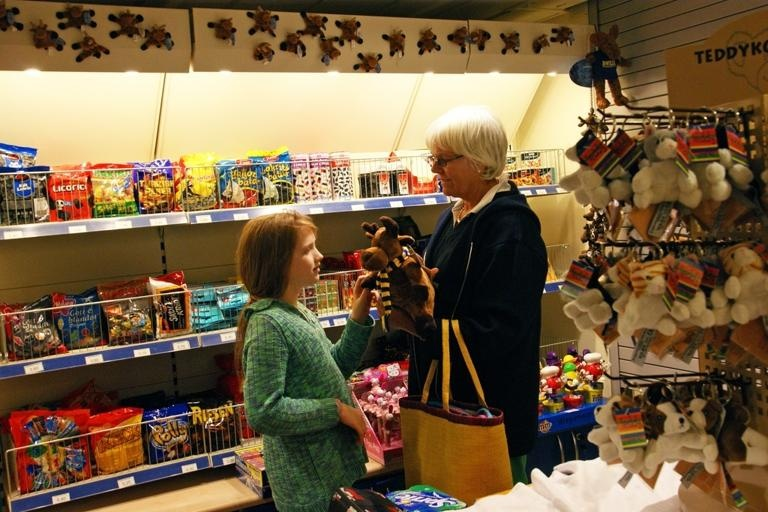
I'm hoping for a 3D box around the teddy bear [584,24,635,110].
[{"bbox_3d":[1.673,-1.411,4.152,0.289,0.656,0.620,1,9,23],"label":"teddy bear"}]

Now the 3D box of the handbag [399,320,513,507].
[{"bbox_3d":[0.295,0.631,2.255,0.257,0.715,0.434,-8,10,-36],"label":"handbag"}]

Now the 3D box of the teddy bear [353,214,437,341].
[{"bbox_3d":[0.050,0.087,2.310,0.313,0.477,0.266,1,-5,-19],"label":"teddy bear"}]
